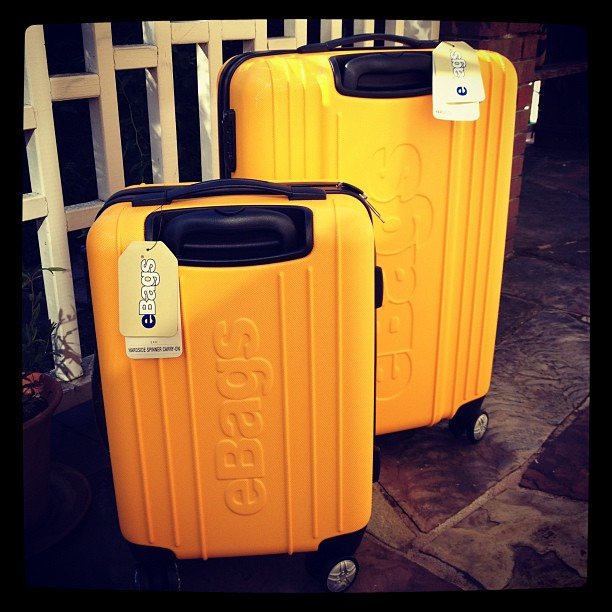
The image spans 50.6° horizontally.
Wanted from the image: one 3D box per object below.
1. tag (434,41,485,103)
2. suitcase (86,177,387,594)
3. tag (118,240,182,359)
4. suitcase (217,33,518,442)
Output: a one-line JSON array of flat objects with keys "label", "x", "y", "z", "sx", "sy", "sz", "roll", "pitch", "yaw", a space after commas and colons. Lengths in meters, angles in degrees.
[{"label": "tag", "x": 0.427, "y": -0.639, "z": 1.763, "sx": 0.130, "sy": 0.164, "sz": 0.183, "roll": 5, "pitch": 20, "yaw": 21}, {"label": "suitcase", "x": -0.138, "y": 0.236, "z": 1.501, "sx": 0.599, "sy": 1.039, "sz": 0.273, "roll": -2, "pitch": 20, "yaw": 3}, {"label": "tag", "x": -0.314, "y": -0.010, "z": 1.287, "sx": 0.122, "sy": 0.237, "sz": 0.034, "roll": -1, "pitch": 20, "yaw": 6}, {"label": "suitcase", "x": 0.133, "y": -0.150, "z": 2.099, "sx": 1.047, "sy": 1.282, "sz": 0.517, "roll": -10, "pitch": 22, "yaw": -25}]
